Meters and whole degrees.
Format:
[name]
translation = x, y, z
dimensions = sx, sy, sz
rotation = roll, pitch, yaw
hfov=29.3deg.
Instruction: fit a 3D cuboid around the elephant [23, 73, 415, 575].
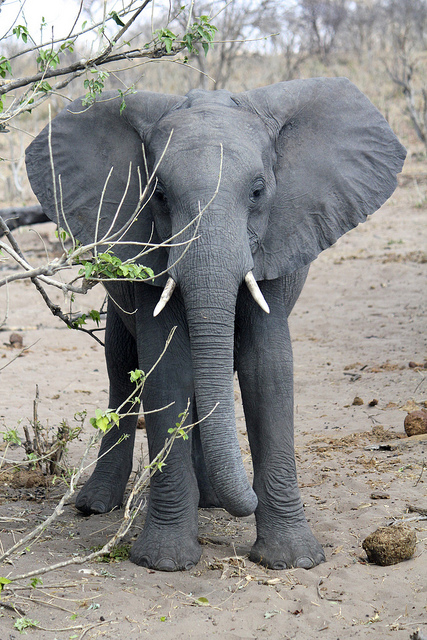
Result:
[elephant]
translation = 0.013, -0.043, 4.494
dimensions = 2.000, 2.211, 2.752
rotation = 0, 6, -3
